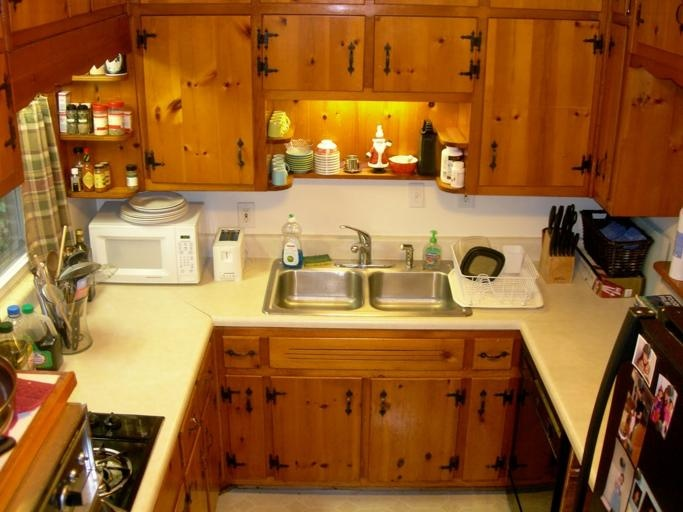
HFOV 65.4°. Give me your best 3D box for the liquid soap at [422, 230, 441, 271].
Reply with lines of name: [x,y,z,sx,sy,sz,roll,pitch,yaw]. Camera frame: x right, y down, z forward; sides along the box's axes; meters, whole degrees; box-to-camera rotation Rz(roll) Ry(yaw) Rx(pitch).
liquid soap: [0.581,-0.085,3.392,0.113,0.257,0.258,1,23,10]

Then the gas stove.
gas stove: [-0.810,0.741,2.006,0.267,0.074,0.314,5,45,-11]

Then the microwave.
microwave: [-1.116,-0.030,3.099,0.636,0.396,0.444,1,20,1]

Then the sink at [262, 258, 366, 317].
sink: [-0.134,0.179,3.270,0.368,0.135,0.325,2,47,-4]

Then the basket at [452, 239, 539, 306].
basket: [0.917,0.066,3.183,0.531,0.266,0.654,1,23,11]

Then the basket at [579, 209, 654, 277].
basket: [1.596,-0.070,3.115,0.242,0.189,0.425,0,17,1]

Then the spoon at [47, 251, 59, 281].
spoon: [-1.479,0.044,2.738,0.042,0.143,0.048,-10,12,-42]

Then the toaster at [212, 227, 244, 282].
toaster: [-0.680,-0.011,3.327,0.196,0.244,0.351,-2,19,-5]

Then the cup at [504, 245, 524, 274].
cup: [1.009,0.020,3.137,0.139,0.197,0.106,0,12,3]

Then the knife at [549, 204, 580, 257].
knife: [1.307,-0.147,3.163,0.173,0.323,0.076,0,8,9]

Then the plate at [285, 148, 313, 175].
plate: [-0.248,-0.566,3.195,0.142,0.102,0.145,-1,30,1]

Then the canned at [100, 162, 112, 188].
canned: [-1.362,-0.475,3.090,0.052,0.147,0.104,2,29,-5]

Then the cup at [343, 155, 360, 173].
cup: [0.065,-0.549,3.207,0.104,0.106,0.107,-1,20,0]

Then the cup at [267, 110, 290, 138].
cup: [-0.371,-0.774,3.136,0.082,0.066,0.197,2,28,1]

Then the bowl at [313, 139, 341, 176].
bowl: [-0.069,-0.606,3.249,0.184,0.224,0.196,0,23,0]
